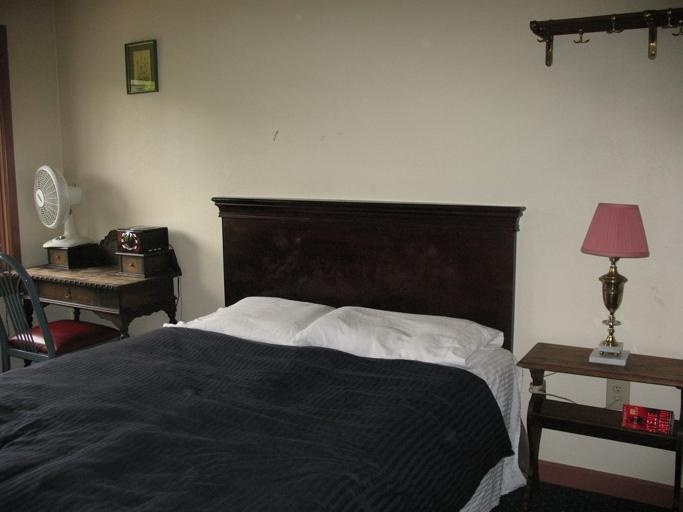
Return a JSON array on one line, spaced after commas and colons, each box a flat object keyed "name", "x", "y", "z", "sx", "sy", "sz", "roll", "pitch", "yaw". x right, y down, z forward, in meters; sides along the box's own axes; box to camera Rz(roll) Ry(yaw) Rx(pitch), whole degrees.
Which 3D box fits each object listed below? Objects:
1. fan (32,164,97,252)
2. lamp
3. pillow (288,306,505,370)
[{"name": "fan", "x": -2.064, "y": -0.373, "z": 4.082, "sx": 0.369, "sy": 0.588, "sz": 0.387, "roll": -9, "pitch": 9, "yaw": -39}, {"name": "lamp", "x": 1.343, "y": 0.123, "z": 2.661, "sx": 0.273, "sy": 0.760, "sz": 0.363, "roll": 5, "pitch": 9, "yaw": 39}, {"name": "pillow", "x": 0.261, "y": 0.408, "z": 2.758, "sx": 0.683, "sy": 0.123, "sz": 0.436, "roll": 1, "pitch": 8, "yaw": 26}]
